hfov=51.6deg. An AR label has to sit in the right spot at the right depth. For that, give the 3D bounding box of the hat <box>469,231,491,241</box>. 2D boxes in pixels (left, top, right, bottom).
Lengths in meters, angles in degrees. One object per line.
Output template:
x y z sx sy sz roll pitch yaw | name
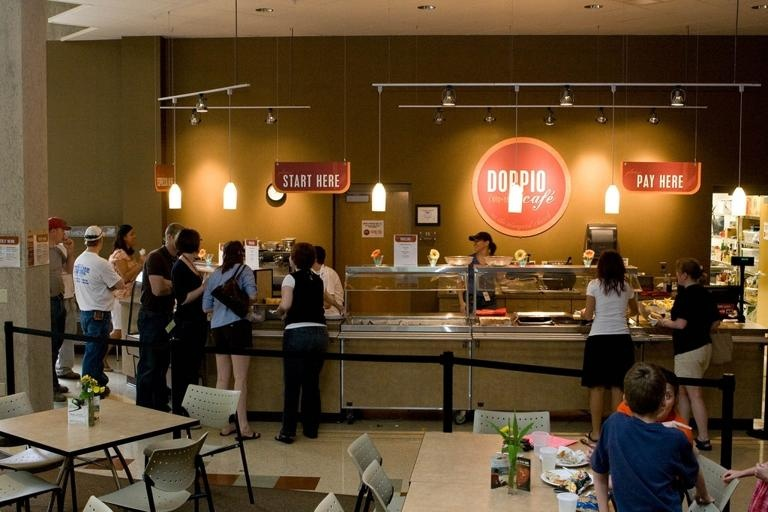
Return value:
1.375 -0.270 11.214 0.229 0.129 0.155 14 -6 0 | hat

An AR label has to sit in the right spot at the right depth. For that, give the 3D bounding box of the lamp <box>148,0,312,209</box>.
-2.419 -2.556 12.808 2.572 3.057 1.681 1 6 -2 | lamp

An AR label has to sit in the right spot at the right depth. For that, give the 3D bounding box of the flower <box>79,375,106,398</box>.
-2.774 1.249 7.521 0.187 0.215 0.351 -1 4 -18 | flower

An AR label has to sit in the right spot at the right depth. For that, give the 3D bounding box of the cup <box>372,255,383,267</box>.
-0.060 0.067 9.970 0.154 0.165 0.154 0 -1 0 | cup

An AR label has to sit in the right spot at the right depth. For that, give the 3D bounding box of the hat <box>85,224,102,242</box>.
-3.877 -0.300 10.578 0.189 0.157 0.302 1 16 17 | hat

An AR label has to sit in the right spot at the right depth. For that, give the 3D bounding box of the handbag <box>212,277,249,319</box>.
-1.783 0.479 9.259 0.330 0.317 0.127 41 -24 -6 | handbag

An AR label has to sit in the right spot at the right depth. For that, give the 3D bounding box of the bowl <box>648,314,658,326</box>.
3.274 0.789 9.671 0.118 0.111 0.099 4 18 25 | bowl

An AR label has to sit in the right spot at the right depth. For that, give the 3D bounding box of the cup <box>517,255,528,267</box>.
1.967 0.075 11.341 0.092 0.131 0.131 9 16 40 | cup

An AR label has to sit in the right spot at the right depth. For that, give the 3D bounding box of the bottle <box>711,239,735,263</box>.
6.500 -0.085 15.203 0.209 0.452 0.463 2 2 35 | bottle

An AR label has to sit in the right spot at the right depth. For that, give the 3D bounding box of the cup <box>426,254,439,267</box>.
0.632 0.067 10.140 0.171 0.138 0.165 0 -1 0 | cup

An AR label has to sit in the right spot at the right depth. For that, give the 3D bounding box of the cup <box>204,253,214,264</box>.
-2.684 0.049 12.098 0.187 0.168 0.182 0 -3 0 | cup

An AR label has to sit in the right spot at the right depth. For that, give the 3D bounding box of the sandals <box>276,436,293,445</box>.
-1.172 2.174 9.323 0.184 0.060 0.077 7 7 38 | sandals

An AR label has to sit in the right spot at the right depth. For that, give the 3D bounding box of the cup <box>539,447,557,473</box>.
1.393 1.746 6.741 0.166 0.187 0.175 0 -3 0 | cup

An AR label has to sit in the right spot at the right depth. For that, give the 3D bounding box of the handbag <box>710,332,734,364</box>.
3.957 1.156 9.355 0.254 0.342 0.178 0 -16 -10 | handbag

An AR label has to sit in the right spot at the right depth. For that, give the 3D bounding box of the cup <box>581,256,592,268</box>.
2.713 0.083 10.655 0.160 0.180 0.160 1 -3 0 | cup

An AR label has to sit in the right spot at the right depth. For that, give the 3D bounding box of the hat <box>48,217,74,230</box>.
-4.256 -0.430 10.552 0.261 0.162 0.402 8 6 32 | hat

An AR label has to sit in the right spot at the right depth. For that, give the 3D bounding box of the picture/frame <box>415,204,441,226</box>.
0.718 -0.693 12.975 0.330 0.309 0.027 0 3 -3 | picture/frame
